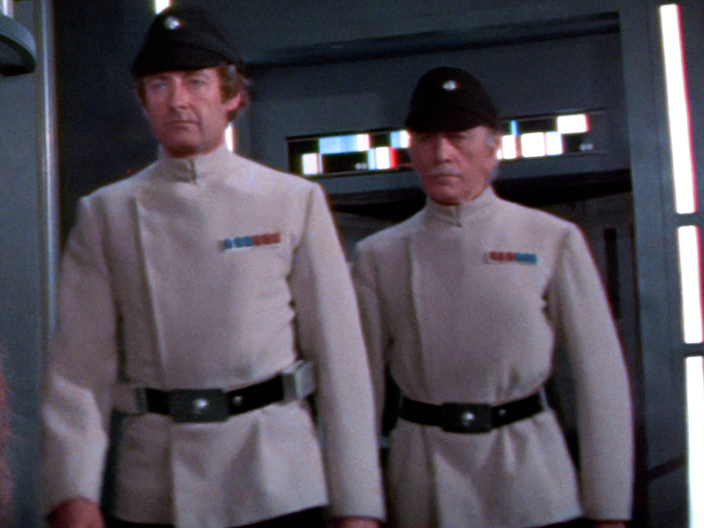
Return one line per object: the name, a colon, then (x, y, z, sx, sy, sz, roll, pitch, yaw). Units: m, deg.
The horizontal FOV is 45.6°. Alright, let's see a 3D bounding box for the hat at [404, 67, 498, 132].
hat: (0.249, -0.420, 2.138, 0.217, 0.167, 0.307, 1, 7, 22)
